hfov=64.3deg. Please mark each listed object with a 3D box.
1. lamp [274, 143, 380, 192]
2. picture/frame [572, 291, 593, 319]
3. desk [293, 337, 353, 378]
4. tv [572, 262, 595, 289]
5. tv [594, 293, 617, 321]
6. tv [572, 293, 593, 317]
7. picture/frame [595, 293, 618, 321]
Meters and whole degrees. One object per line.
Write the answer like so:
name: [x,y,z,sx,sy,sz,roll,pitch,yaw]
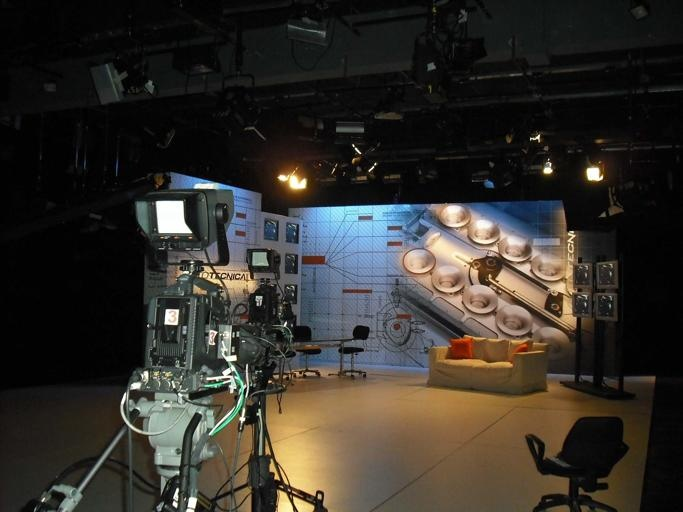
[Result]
lamp: [-0.378,-1.974,10.920,2.409,1.017,0.771,-4,-17,23]
picture/frame: [4.392,0.877,9.903,0.060,0.492,0.476,4,-6,-17]
desk: [-0.435,2.001,11.216,1.013,0.866,3.189,-1,-2,-4]
tv: [4.415,0.356,9.968,0.115,0.482,0.545,0,-2,-10]
tv: [4.503,0.856,9.243,0.053,0.551,0.455,4,-1,-21]
tv: [4.388,0.877,9.875,0.050,0.416,0.402,4,-6,-18]
picture/frame: [4.509,0.853,9.233,0.056,0.564,0.466,3,-1,-21]
